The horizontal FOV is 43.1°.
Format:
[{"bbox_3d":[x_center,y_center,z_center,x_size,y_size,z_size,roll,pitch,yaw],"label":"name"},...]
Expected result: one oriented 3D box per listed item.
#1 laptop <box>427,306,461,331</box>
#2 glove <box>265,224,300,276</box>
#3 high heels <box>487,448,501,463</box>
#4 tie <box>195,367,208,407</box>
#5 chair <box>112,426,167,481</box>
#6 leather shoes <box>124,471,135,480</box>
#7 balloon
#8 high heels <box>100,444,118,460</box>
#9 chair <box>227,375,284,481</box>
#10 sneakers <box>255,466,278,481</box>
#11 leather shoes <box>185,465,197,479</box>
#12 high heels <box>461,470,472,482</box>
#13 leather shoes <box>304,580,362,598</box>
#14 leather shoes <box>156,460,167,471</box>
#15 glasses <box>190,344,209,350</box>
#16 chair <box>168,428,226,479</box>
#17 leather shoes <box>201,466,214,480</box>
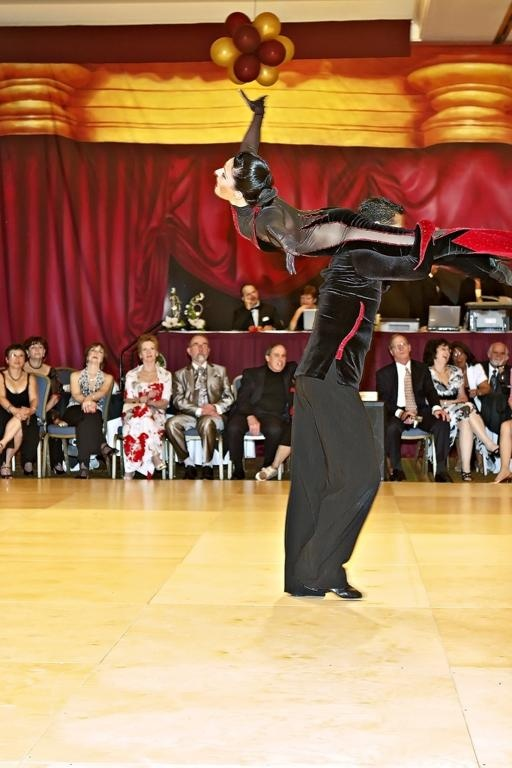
[{"bbox_3d":[2.283,-0.813,7.902,0.391,0.307,0.365,2,16,20],"label":"laptop"},{"bbox_3d":[0.090,-0.438,2.113,0.155,0.084,0.054,41,-10,1],"label":"glove"},{"bbox_3d":[2.297,0.677,6.255,0.121,0.155,0.068,-3,30,11],"label":"high heels"},{"bbox_3d":[-0.554,0.007,6.539,0.130,0.390,0.062,1,-3,-7],"label":"tie"},{"bbox_3d":[-1.163,0.688,6.356,0.577,0.398,0.554,-2,8,-22],"label":"chair"},{"bbox_3d":[-1.142,0.828,5.829,0.052,0.055,0.142,5,-12,5],"label":"leather shoes"},{"bbox_3d":[-0.045,-3.049,5.806,0.723,0.843,0.469,0,-3,0],"label":"balloon"},{"bbox_3d":[-1.392,0.641,6.229,0.178,0.161,0.111,0,1,25],"label":"high heels"},{"bbox_3d":[-0.020,0.339,6.252,0.564,1.091,0.751,0,-3,1],"label":"chair"},{"bbox_3d":[0.079,0.796,5.719,0.095,0.093,0.223,5,11,44],"label":"sneakers"},{"bbox_3d":[-0.626,0.829,6.179,0.115,0.113,0.212,1,-3,-7],"label":"leather shoes"},{"bbox_3d":[1.917,0.839,5.920,0.068,0.044,0.189,0,1,3],"label":"high heels"},{"bbox_3d":[0.270,0.729,2.330,0.209,0.069,0.073,-4,0,7],"label":"leather shoes"},{"bbox_3d":[-0.882,0.750,5.999,0.106,0.116,0.301,-1,-8,-6],"label":"leather shoes"},{"bbox_3d":[-0.554,-0.379,6.542,0.177,0.065,0.099,2,-4,-26],"label":"glasses"},{"bbox_3d":[-0.581,0.679,6.382,0.604,0.433,1.038,0,-3,-5],"label":"chair"},{"bbox_3d":[-0.452,0.834,6.096,0.063,0.125,0.182,1,5,3],"label":"leather shoes"}]
